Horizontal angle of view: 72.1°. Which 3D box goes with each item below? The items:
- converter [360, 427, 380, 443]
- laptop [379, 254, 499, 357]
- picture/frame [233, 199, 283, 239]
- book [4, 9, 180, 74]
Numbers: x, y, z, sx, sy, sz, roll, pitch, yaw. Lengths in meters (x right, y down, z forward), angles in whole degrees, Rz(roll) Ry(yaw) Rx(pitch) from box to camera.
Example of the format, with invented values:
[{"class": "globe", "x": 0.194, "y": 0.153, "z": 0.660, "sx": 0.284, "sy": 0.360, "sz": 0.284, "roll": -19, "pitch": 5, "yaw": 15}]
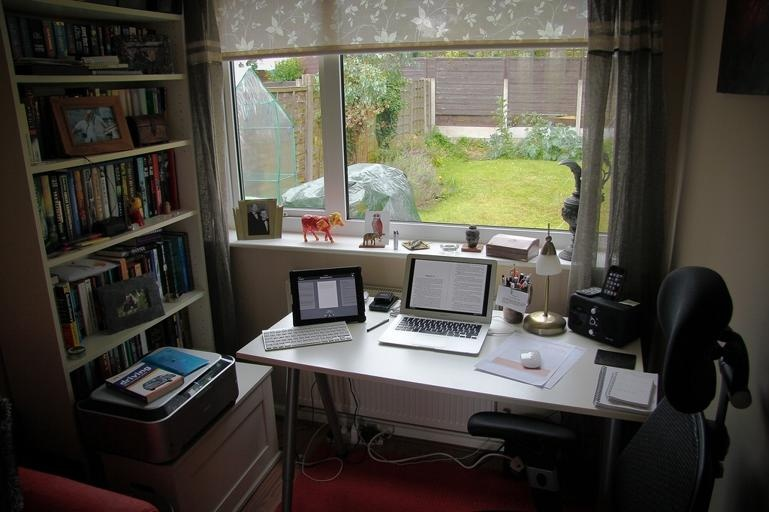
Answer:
[{"class": "converter", "x": -0.093, "y": 1.129, "z": 3.388, "sx": 0.102, "sy": 0.079, "sz": 0.082, "roll": 23, "pitch": 14, "yaw": 15}, {"class": "laptop", "x": 0.335, "y": 0.247, "z": 2.810, "sx": 0.559, "sy": 0.351, "sz": 0.519, "roll": 4, "pitch": 23, "yaw": 17}, {"class": "picture/frame", "x": -0.809, "y": -0.231, "z": 3.396, "sx": 0.260, "sy": 0.226, "sz": 0.059, "roll": 1, "pitch": 19, "yaw": -1}, {"class": "book", "x": -1.490, "y": -1.069, "z": 2.718, "sx": 0.276, "sy": 0.273, "sz": 0.913, "roll": 4, "pitch": 20, "yaw": 18}]
